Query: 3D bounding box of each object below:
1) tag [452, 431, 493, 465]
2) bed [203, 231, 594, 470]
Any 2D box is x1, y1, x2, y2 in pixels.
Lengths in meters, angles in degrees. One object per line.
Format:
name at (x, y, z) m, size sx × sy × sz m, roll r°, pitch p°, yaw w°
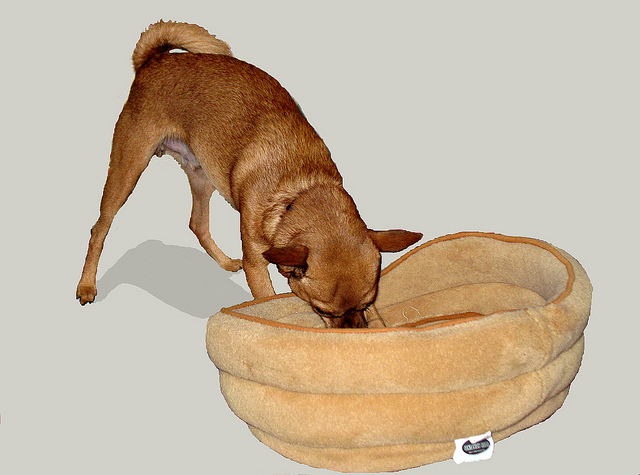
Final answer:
tag at (0.876, 1.196, 5.470) m, size 0.243 × 0.149 × 0.139 m, roll -9°, pitch -12°, yaw 6°
bed at (0.497, 0.711, 5.706) m, size 1.971 × 0.850 × 1.391 m, roll -6°, pitch 11°, yaw -6°
